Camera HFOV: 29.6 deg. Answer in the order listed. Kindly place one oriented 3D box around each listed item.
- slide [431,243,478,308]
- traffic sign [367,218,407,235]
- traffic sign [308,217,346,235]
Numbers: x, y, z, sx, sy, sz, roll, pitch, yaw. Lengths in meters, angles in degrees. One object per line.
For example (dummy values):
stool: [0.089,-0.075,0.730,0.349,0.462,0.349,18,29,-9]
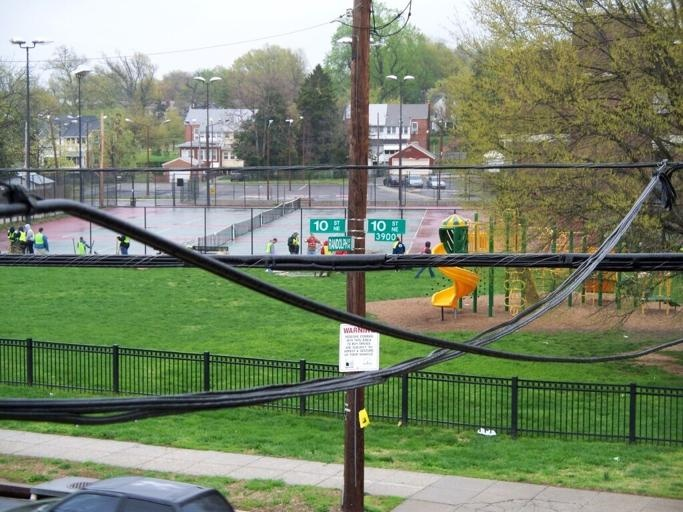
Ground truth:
slide: [4.220,1.039,48.920,1.935,2.873,1.797,2,10,23]
traffic sign: [1.087,-0.769,32.989,0.989,0.371,0.582,-2,4,-11]
traffic sign: [-0.341,-0.801,33.833,0.706,0.361,1.907,-2,4,-10]
